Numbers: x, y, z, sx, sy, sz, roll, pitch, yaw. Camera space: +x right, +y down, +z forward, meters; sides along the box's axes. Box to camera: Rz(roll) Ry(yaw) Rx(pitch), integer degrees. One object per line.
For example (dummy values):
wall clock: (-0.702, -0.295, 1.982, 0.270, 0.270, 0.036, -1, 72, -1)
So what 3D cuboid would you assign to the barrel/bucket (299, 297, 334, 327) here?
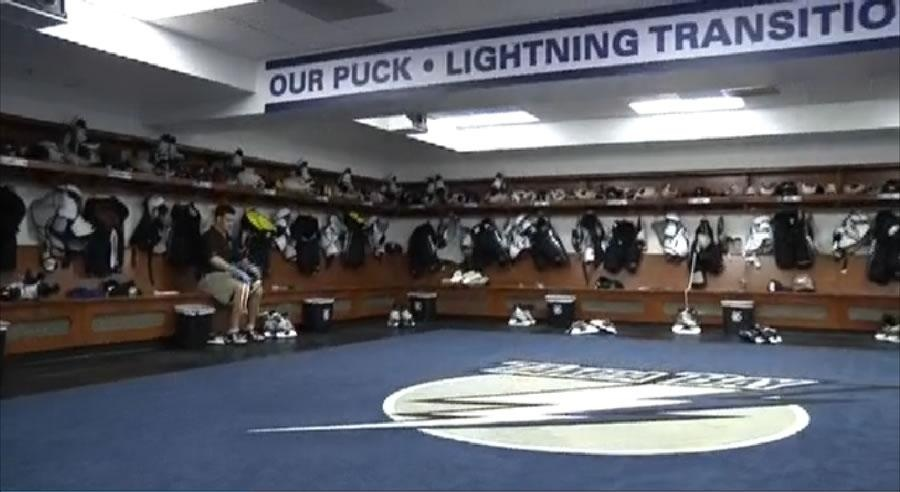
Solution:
barrel/bucket: (-2.813, 1.441, 11.732, 0.646, 0.584, 0.639, 2, 1, 0)

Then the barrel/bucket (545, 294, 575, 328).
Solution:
barrel/bucket: (2.453, 1.445, 12.314, 0.727, 0.619, 0.689, 0, -1, 0)

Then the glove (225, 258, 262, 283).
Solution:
glove: (-3.842, 0.481, 10.439, 0.156, 0.353, 0.577, -41, -40, 14)

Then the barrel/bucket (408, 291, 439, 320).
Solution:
barrel/bucket: (-0.605, 1.308, 13.280, 0.626, 0.742, 0.807, -3, 5, -41)

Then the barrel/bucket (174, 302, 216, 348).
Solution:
barrel/bucket: (-4.601, 1.393, 9.870, 0.722, 0.618, 0.689, 1, 0, 0)

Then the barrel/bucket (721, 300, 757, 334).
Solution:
barrel/bucket: (6.076, 1.380, 11.460, 0.742, 0.768, 0.655, 2, 3, 31)
